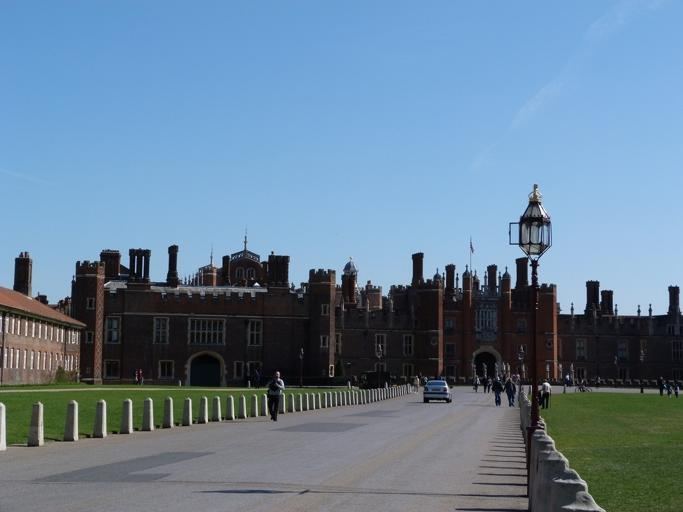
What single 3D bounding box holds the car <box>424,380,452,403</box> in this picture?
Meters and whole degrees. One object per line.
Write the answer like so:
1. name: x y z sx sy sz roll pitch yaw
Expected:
1. car: 5.779 8.204 61.301 1.605 1.400 1.837 1 -11 -14
